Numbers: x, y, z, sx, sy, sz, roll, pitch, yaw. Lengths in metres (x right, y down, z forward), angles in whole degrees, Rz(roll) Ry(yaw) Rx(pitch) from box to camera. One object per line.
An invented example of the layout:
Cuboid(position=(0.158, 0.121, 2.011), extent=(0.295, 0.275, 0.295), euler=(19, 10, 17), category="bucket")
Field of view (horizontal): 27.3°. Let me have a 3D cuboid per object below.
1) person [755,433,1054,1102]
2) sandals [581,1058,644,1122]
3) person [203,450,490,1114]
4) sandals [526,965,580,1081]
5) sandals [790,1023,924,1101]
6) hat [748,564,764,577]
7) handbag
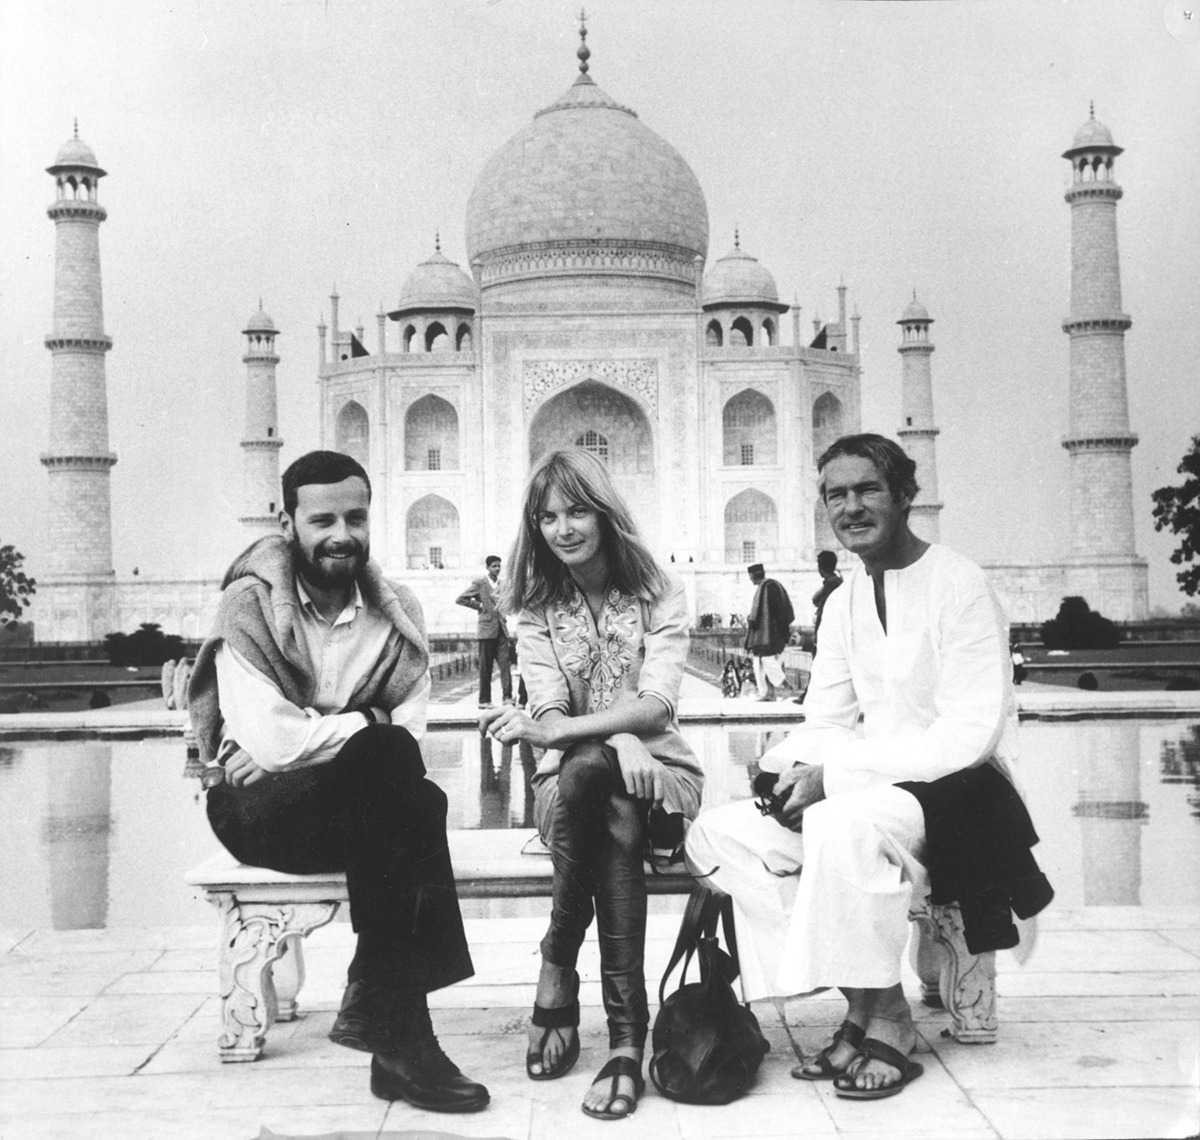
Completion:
Cuboid(position=(0.861, 0.478, 7.262), extent=(0.802, 1.771, 0.501), euler=(-1, -2, -15), category="person")
Cuboid(position=(0.041, 1.439, 6.888), extent=(0.127, 0.116, 0.301), euler=(-1, -8, 3), category="sandals")
Cuboid(position=(-0.767, 0.582, 7.131), extent=(0.868, 1.856, 0.426), euler=(-2, -2, 1), category="person")
Cuboid(position=(-0.136, 1.267, 7.081), extent=(0.155, 0.333, 0.124), euler=(-1, -2, -2), category="sandals")
Cuboid(position=(0.729, 1.366, 6.979), extent=(0.363, 0.208, 0.133), euler=(-2, -2, 5), category="sandals")
Cuboid(position=(0.957, -0.015, 15.236), extent=(0.092, 0.077, 0.078), euler=(-3, -2, 32), category="hat")
Cuboid(position=(0.312, 1.196, 7.077), extent=(0.377, 0.575, 0.336), euler=(-1, -2, -21), category="handbag")
